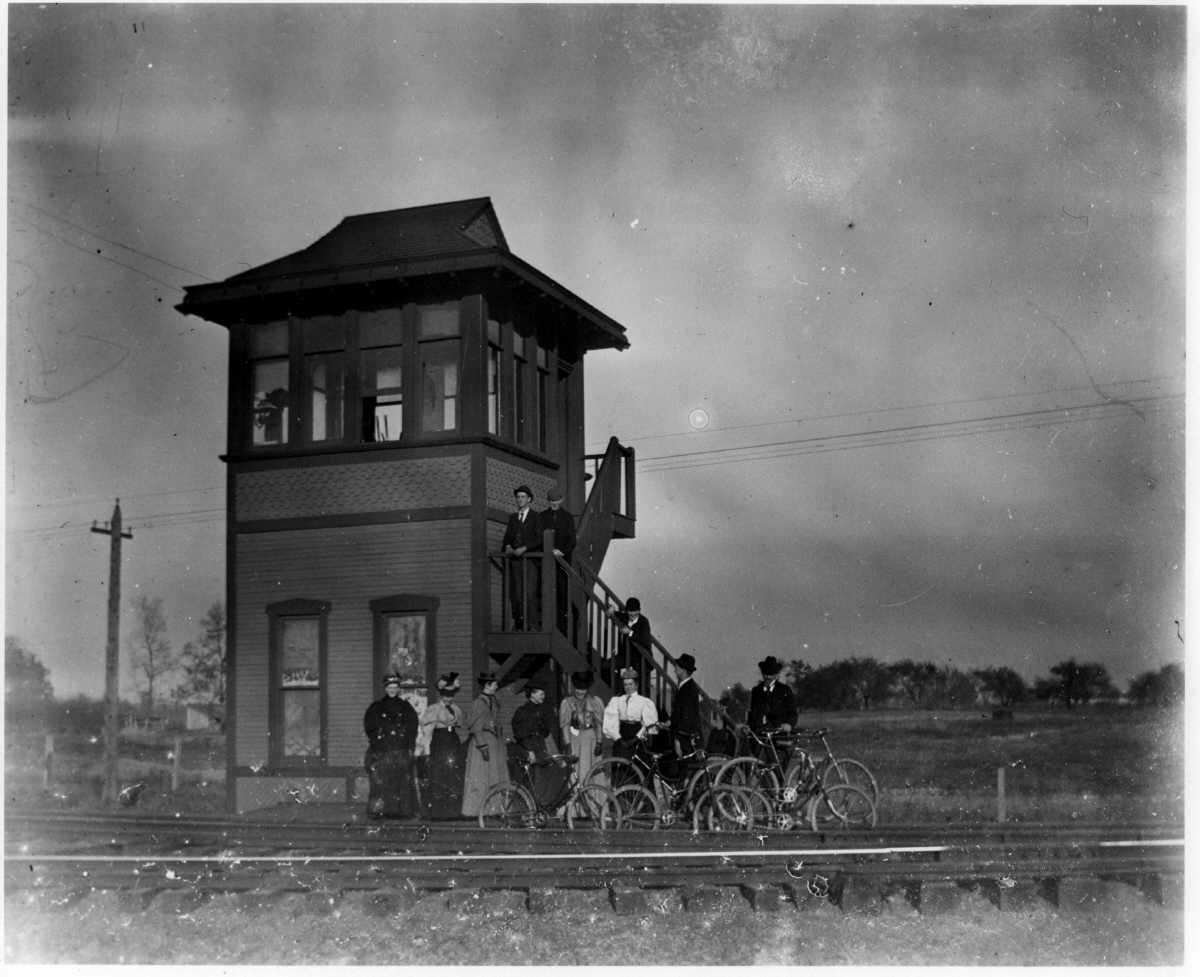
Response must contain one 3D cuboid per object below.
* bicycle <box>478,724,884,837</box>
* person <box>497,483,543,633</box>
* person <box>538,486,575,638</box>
[{"bbox_3d":[1.584,3.793,27.314,3.661,1.275,1.392,-2,-13,13],"label":"bicycle"},{"bbox_3d":[-1.123,1.028,29.915,0.582,2.004,0.651,1,-11,-3],"label":"person"},{"bbox_3d":[-0.601,1.049,29.964,0.468,2.037,0.854,1,-11,0],"label":"person"}]
